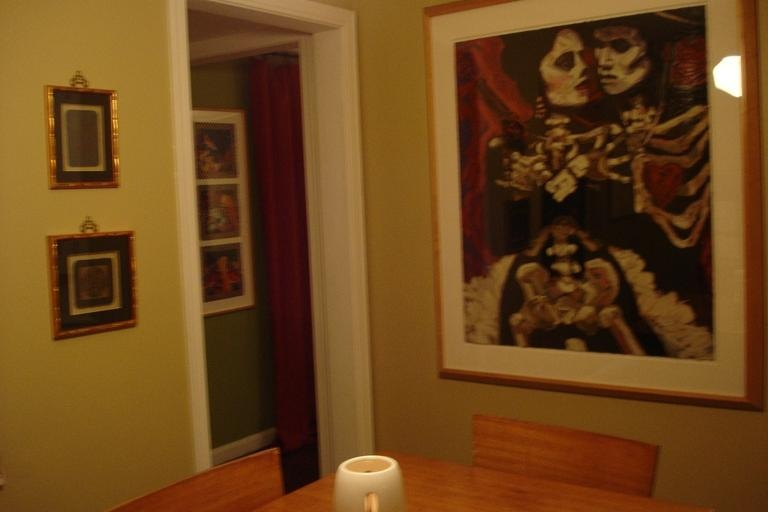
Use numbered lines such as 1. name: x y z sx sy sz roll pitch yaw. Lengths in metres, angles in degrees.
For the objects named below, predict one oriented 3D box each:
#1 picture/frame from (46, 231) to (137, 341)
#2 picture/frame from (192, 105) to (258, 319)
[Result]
1. picture/frame: -1.145 0.111 2.521 0.403 0.469 0.065 -5 7 -34
2. picture/frame: -1.013 -0.281 4.175 0.106 1.281 0.444 -1 6 33
